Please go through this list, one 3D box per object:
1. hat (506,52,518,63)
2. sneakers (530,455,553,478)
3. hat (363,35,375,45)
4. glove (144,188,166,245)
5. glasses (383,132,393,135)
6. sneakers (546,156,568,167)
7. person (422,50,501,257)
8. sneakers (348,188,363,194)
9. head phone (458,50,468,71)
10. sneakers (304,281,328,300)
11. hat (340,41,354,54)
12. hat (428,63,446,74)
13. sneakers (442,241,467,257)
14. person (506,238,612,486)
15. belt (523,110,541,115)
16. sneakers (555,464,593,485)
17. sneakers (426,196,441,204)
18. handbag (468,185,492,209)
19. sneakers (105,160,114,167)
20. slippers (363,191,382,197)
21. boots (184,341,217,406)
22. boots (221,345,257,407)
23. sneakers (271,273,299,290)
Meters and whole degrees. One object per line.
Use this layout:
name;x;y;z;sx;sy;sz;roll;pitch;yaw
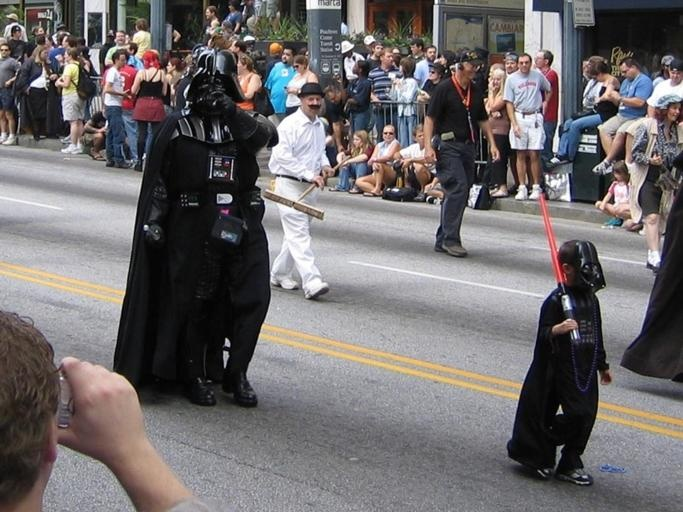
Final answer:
hat;3.569;-4.164;15.488;0.247;0.205;0.463;5;13;12
sneakers;1.354;1.427;4.955;0.068;0.182;0.074;-2;-28;4
hat;0.776;-5.945;20.362;0.231;0.257;0.594;0;13;-10
glove;-1.466;-0.317;5.777;0.183;0.443;0.227;0;12;-10
glasses;1.056;-2.731;16.466;0.223;0.084;0.139;0;13;-10
sneakers;4.509;-1.972;15.436;0.402;0.181;0.181;0;10;2
person;1.773;-1.649;11.591;0.880;3.086;0.935;12;15;41
sneakers;0.311;-1.490;16.757;0.277;0.126;0.172;3;13;2
head phone;1.900;-3.064;11.499;0.185;0.304;0.337;4;12;8
sneakers;-0.308;0.393;8.812;0.286;0.260;0.290;1;12;-3
hat;0.136;-5.852;20.731;0.518;0.213;0.599;-30;12;6
hat;2.136;-4.208;16.383;0.295;0.121;0.219;28;-2;-27
sneakers;1.720;-0.098;11.354;0.178;0.139;0.361;0;6;-34
person;1.533;0.732;4.989;0.555;1.593;0.724;10;14;34
belt;3.900;-2.935;15.138;0.396;0.076;0.079;-2;13;-16
sneakers;1.537;1.456;4.883;0.227;0.111;0.096;7;13;24
sneakers;1.955;-1.177;15.729;0.321;0.153;0.118;5;11;30
handbag;2.810;-1.211;15.065;0.440;0.663;0.349;0;6;-6
sneakers;-5.969;-2.394;19.015;0.119;0.119;0.242;2;9;-4
slippers;0.682;-1.371;16.428;0.301;0.082;0.133;4;3;-2
boots;-1.133;0.974;5.953;0.174;0.422;0.416;2;9;-26
boots;-0.811;0.985;5.970;0.162;0.393;0.406;3;17;-45
sneakers;-0.724;0.320;9.367;0.373;0.179;0.166;5;5;19
